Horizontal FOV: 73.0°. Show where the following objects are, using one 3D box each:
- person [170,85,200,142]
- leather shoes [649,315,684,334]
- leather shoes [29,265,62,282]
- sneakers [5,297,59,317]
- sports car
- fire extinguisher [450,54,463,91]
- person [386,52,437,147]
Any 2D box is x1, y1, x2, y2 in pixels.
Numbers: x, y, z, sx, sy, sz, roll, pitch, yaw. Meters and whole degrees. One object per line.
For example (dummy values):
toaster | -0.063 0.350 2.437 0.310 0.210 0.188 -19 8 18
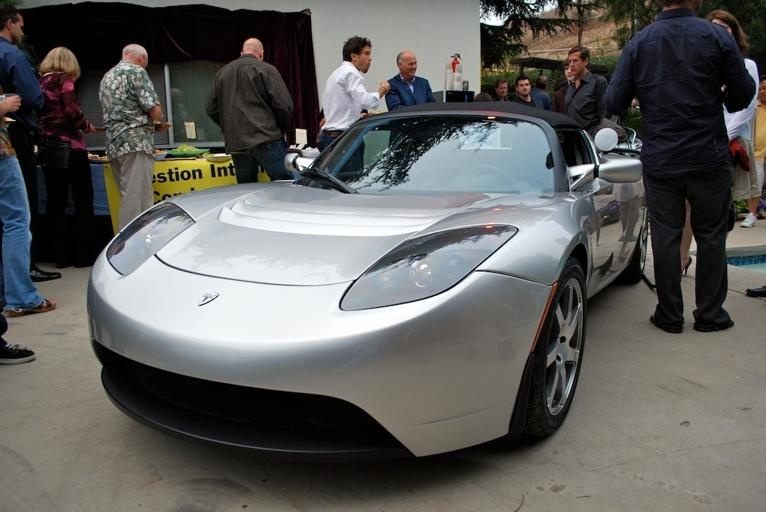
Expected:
person | -3.516 -2.425 8.978 0.289 1.165 0.281 -16 3 6
leather shoes | 2.204 0.537 4.057 0.091 0.105 0.236 -3 2 -11
leather shoes | -3.537 0.187 5.473 0.315 0.146 0.110 -5 15 -3
sneakers | -2.944 0.447 4.372 0.120 0.138 0.328 11 20 41
sports car | 0.422 -0.046 3.253 1.740 1.100 3.282 2 6 31
fire extinguisher | 1.173 -2.975 8.367 0.190 0.562 0.373 -1 14 7
person | 0.376 -2.130 6.706 0.666 1.073 0.548 -12 17 -30
